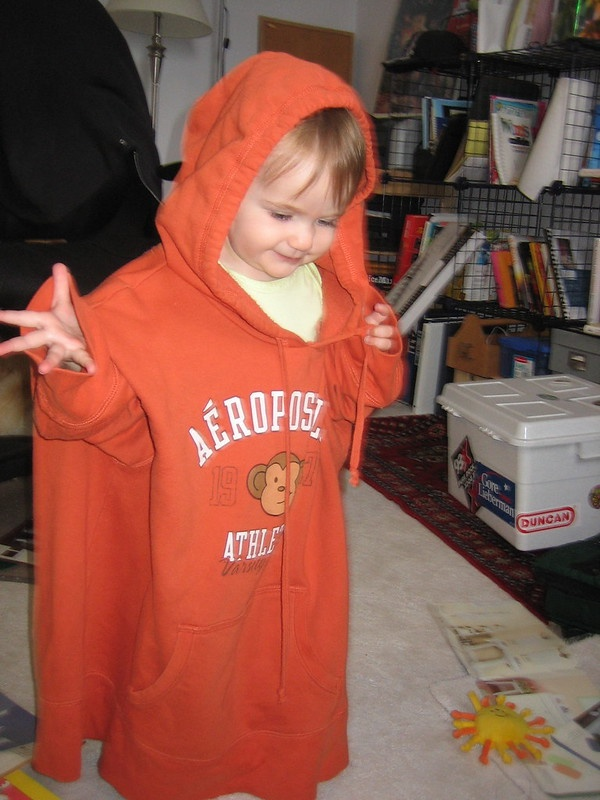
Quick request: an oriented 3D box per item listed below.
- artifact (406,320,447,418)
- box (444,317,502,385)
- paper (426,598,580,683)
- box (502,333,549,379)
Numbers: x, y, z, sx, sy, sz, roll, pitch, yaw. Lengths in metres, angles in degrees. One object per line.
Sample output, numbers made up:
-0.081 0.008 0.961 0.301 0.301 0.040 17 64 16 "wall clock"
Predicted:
0.562 -0.142 2.946 0.090 0.349 0.361 13 15 36 "artifact"
0.784 -0.230 2.907 0.257 0.218 0.181 3 7 -44 "box"
0.424 0.497 1.398 0.226 0.030 0.238 -5 30 4 "paper"
0.849 -0.167 2.577 0.176 0.105 0.173 -9 19 -31 "box"
